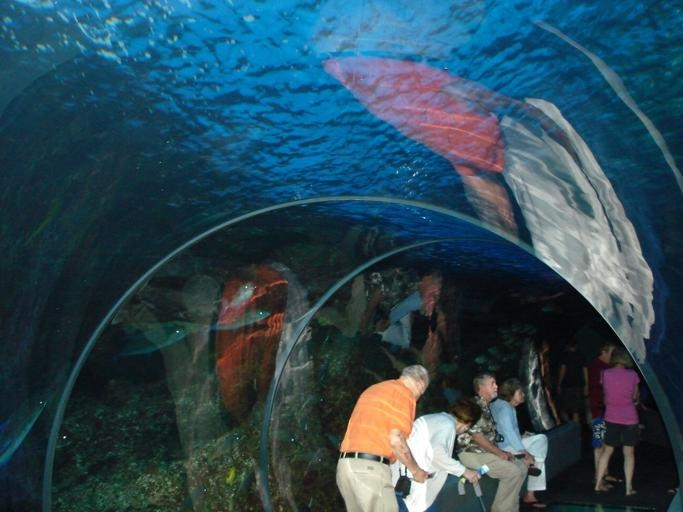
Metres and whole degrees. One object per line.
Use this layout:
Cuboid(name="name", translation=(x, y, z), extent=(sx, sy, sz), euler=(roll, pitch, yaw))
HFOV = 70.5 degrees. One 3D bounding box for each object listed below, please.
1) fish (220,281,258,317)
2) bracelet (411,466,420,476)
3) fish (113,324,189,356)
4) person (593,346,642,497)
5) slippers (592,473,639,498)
Cuboid(name="fish", translation=(-1.516, 0.621, 7.111), extent=(0.336, 0.498, 0.463), euler=(-4, -18, 26))
Cuboid(name="bracelet", translation=(0.919, 2.629, 5.955), extent=(0.147, 0.113, 0.035), euler=(9, 25, 34))
Cuboid(name="fish", translation=(-2.464, 1.053, 6.260), extent=(0.278, 0.211, 0.785), euler=(2, 6, 36))
Cuboid(name="person", translation=(4.766, 2.823, 8.373), extent=(0.670, 2.452, 1.218), euler=(-3, -19, 23))
Cuboid(name="slippers", translation=(4.912, 4.112, 8.694), extent=(0.797, 0.232, 0.206), euler=(-4, 1, -16))
